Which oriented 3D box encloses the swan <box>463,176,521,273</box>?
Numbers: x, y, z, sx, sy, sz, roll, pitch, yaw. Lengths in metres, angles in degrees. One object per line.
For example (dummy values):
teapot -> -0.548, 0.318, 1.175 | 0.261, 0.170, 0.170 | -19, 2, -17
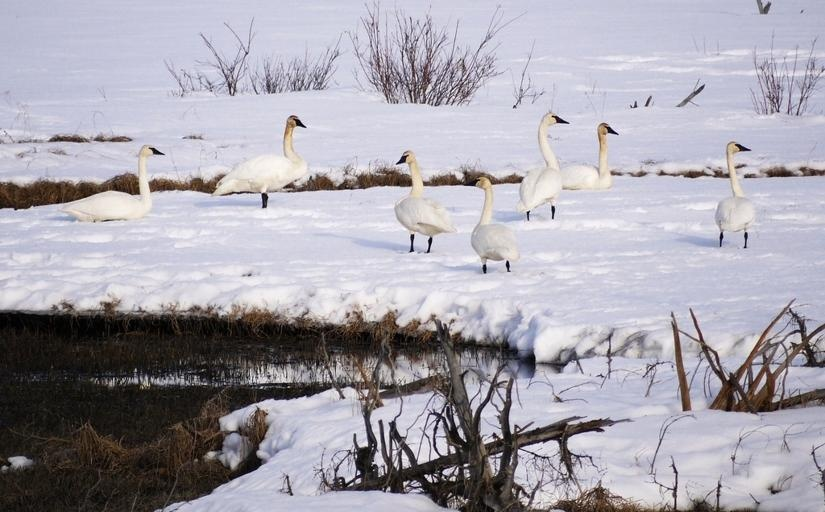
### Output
swan -> 1.953, -0.679, 23.183 | 1.040, 2.060, 2.486 | -1, 14, 4
